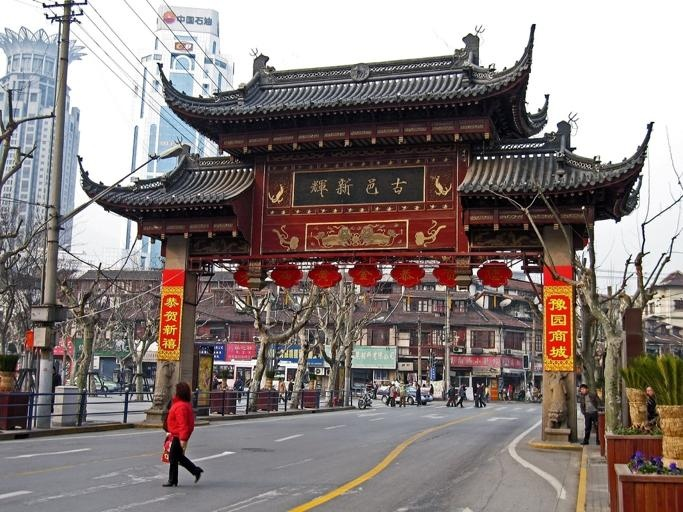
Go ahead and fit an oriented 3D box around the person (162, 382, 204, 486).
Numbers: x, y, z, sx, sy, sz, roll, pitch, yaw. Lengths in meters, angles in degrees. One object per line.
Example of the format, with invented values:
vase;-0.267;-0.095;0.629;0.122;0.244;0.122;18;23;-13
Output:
person;-3.843;4.364;20.415;0.993;2.511;1.068;2;-5;-16

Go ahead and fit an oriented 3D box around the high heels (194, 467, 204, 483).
high heels;-3.459;5.357;20.437;0.190;0.474;0.154;13;0;-23

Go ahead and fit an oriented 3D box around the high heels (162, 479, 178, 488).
high heels;-4.081;5.496;20.108;0.394;0.207;0.140;12;-10;6
